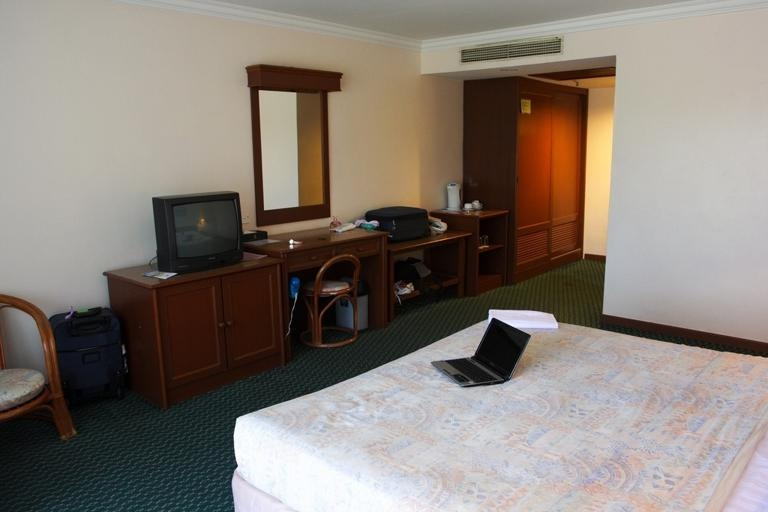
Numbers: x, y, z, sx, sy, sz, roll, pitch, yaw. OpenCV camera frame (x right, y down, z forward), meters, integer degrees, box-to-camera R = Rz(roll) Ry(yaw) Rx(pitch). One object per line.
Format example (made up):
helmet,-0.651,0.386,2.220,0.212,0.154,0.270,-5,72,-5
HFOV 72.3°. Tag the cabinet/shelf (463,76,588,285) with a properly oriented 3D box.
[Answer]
cabinet/shelf,1.781,-1.013,6.845,0.964,2.800,2.469,7,13,38

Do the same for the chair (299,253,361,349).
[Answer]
chair,-0.547,0.385,5.039,0.596,0.837,0.589,2,9,14

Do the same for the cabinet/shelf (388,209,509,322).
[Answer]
cabinet/shelf,0.687,0.115,5.999,0.437,0.633,1.217,8,16,37

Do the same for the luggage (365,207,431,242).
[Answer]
luggage,0.137,-0.381,5.960,0.543,0.343,0.714,-14,15,-36

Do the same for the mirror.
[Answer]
mirror,-0.918,-0.971,5.129,0.202,1.295,0.921,7,17,40

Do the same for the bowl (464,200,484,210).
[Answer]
bowl,1.118,-0.625,6.654,0.163,0.067,0.164,-2,12,0

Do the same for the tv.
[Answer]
tv,-1.560,-0.207,4.315,0.409,0.640,0.717,4,10,38

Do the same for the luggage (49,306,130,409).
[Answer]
luggage,-2.298,0.788,4.064,0.513,0.686,0.387,-5,8,-39

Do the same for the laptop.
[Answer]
laptop,0.557,0.568,2.967,0.412,0.246,0.399,0,10,-24

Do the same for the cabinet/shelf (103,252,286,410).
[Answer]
cabinet/shelf,-1.604,0.593,4.456,0.885,0.997,1.228,5,10,37
